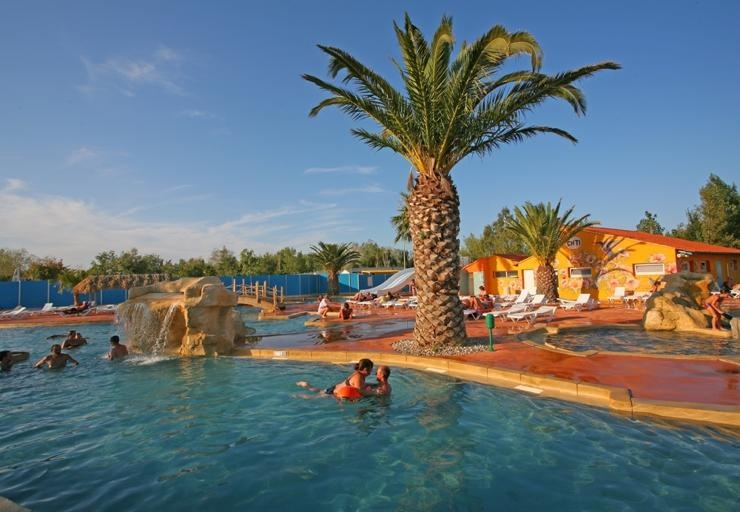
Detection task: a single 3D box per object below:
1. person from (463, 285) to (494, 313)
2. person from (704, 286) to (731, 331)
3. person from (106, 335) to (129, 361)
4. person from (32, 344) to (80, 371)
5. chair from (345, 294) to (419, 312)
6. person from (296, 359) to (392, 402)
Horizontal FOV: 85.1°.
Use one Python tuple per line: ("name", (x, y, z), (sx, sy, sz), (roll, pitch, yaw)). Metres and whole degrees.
("person", (5.156, 1.988, 18.756), (1.216, 0.631, 1.599), (0, -4, 21))
("person", (12.281, 1.904, 14.157), (0.672, 1.299, 1.903), (2, 7, 39))
("person", (-8.031, 2.871, 12.677), (0.519, 0.736, 0.686), (-5, 6, -23))
("person", (-9.658, 3.110, 12.403), (0.782, 1.046, 0.394), (4, -16, -36))
("chair", (0.831, 2.898, 25.400), (4.344, 0.756, 1.329), (2, 7, 40))
("person", (-0.540, 2.592, 8.813), (1.932, 0.762, 0.818), (-5, -3, 0))
